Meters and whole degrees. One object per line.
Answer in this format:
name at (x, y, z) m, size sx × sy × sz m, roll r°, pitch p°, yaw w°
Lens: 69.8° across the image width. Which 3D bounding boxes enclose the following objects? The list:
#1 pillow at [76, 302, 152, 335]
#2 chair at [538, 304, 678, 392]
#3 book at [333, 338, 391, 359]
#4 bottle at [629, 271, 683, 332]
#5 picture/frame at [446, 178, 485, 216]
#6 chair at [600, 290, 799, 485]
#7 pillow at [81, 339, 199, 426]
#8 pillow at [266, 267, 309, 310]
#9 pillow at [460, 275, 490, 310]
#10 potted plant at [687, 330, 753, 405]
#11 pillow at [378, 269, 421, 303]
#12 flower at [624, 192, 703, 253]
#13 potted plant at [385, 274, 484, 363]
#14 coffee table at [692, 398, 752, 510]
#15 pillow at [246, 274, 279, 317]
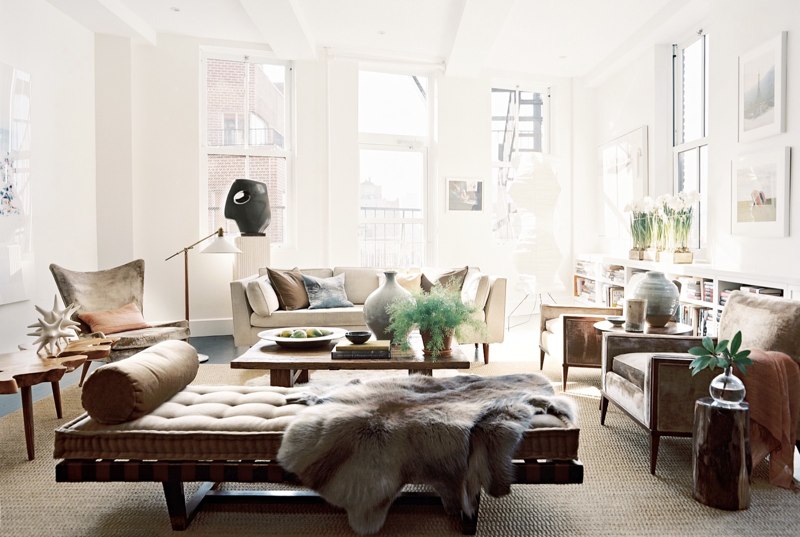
pillow at (-2.801, 0.490, 5.664) m, size 0.458 × 0.230 × 0.570 m, roll 11°, pitch 17°, yaw 41°
chair at (1.801, 0.637, 5.602) m, size 0.676 × 0.785 × 0.932 m, roll -1°, pitch 2°, yaw 0°
book at (-0.303, 0.647, 4.551) m, size 0.451 × 0.093 × 0.209 m, roll 0°, pitch 13°, yaw 0°
bottle at (2.137, 0.279, 4.838) m, size 0.439 × 0.503 × 0.444 m, roll 1°, pitch -7°, yaw -2°
picture/frame at (0.958, -1.093, 8.651) m, size 0.554 × 0.477 × 0.047 m, roll 1°, pitch -2°, yaw -11°
chair at (2.205, 0.806, 4.553) m, size 1.339 × 1.397 × 1.010 m, roll 2°, pitch -3°, yaw -2°
pillow at (-1.621, 0.707, 3.642) m, size 0.356 × 0.419 × 0.832 m, roll -10°, pitch 6°, yaw 14°
pillow at (-1.322, 0.256, 6.544) m, size 0.140 × 0.464 × 0.467 m, roll -33°, pitch -17°, yaw 24°
pillow at (0.756, 0.255, 6.257) m, size 0.165 × 0.392 × 0.383 m, roll 15°, pitch -23°, yaw -14°
potted plant at (2.161, 0.616, 3.924) m, size 0.460 × 0.480 × 0.475 m, roll -3°, pitch 0°, yaw 42°
pillow at (0.012, 0.164, 6.618) m, size 0.499 × 0.495 × 0.272 m, roll 2°, pitch 4°, yaw 6°
flower at (3.149, -0.561, 6.945) m, size 0.700 × 0.901 × 1.005 m, roll 0°, pitch 1°, yaw -20°
potted plant at (0.260, 0.403, 4.469) m, size 0.588 × 0.427 × 0.592 m, roll 0°, pitch -5°, yaw -2°
coffee table at (2.085, 1.220, 3.719) m, size 0.344 × 0.659 × 0.184 m, roll 6°, pitch 15°, yaw 28°
pillow at (-1.494, 0.310, 6.253) m, size 0.147 × 0.251 × 0.414 m, roll -3°, pitch 8°, yaw 1°
